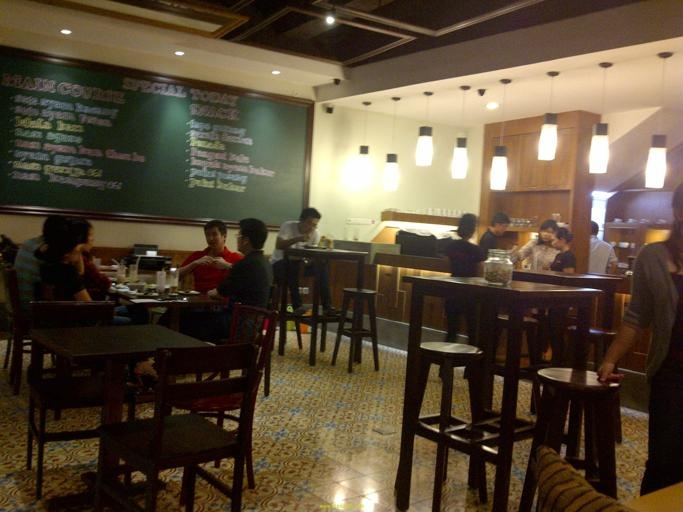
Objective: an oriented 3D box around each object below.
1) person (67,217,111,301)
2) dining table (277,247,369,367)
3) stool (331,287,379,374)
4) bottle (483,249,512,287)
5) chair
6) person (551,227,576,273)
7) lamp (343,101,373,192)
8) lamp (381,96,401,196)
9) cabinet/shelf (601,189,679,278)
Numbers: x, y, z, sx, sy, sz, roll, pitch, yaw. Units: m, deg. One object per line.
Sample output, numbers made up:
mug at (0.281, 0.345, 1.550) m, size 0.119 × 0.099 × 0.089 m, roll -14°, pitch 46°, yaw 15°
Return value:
person at (-2.277, 0.173, 4.762) m, size 0.285 × 0.959 × 0.299 m, roll -12°, pitch 22°, yaw -20°
dining table at (-0.518, 0.664, 6.828) m, size 1.285 × 1.809 × 1.255 m, roll 0°, pitch 13°, yaw -17°
stool at (0.191, 0.842, 6.091) m, size 0.605 × 0.835 × 0.602 m, roll 2°, pitch -2°, yaw 25°
bottle at (0.917, 0.061, 3.010) m, size 0.149 × 0.189 × 0.190 m, roll 5°, pitch 4°, yaw 17°
chair at (-1.374, 0.638, 3.067) m, size 1.001 × 1.023 × 1.568 m, roll 0°, pitch 0°, yaw -32°
person at (2.520, -0.081, 5.849) m, size 0.229 × 0.486 × 1.003 m, roll 5°, pitch 5°, yaw 22°
lamp at (0.290, -1.830, 8.492) m, size 0.477 × 1.410 × 1.312 m, roll 3°, pitch 4°, yaw 2°
lamp at (0.747, -1.646, 7.525) m, size 0.256 × 1.369 × 0.256 m, roll -11°, pitch 25°, yaw -32°
cabinet/shelf at (5.898, -0.371, 9.889) m, size 0.985 × 1.728 × 0.602 m, roll -11°, pitch 8°, yaw -42°
